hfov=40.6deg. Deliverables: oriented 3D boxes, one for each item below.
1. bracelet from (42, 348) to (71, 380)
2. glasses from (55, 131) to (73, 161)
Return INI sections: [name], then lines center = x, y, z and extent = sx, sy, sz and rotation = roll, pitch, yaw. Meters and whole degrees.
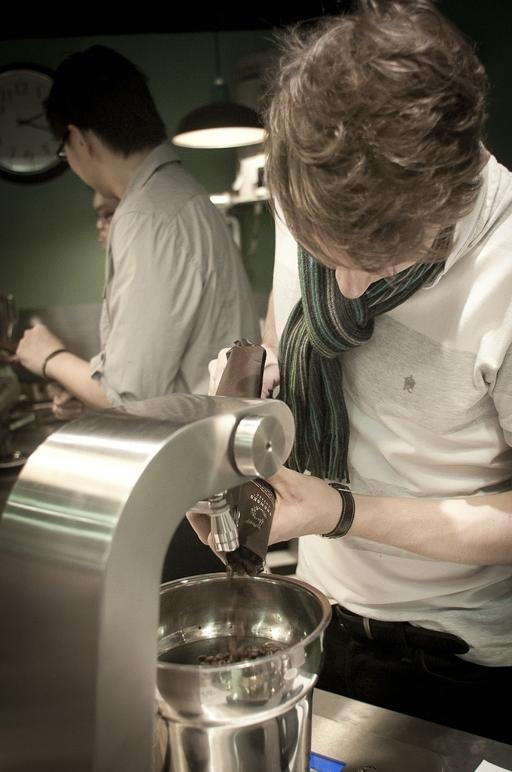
[bracelet]
center = -0.353, -0.037, 1.205
extent = 0.015, 0.050, 0.051
rotation = 9, 8, -45
[glasses]
center = -0.320, -0.400, 1.154
extent = 0.034, 0.036, 0.009
rotation = 6, -5, 33
